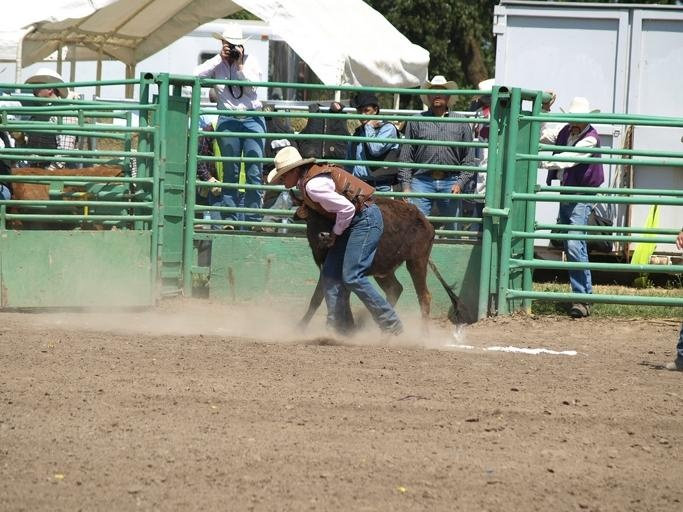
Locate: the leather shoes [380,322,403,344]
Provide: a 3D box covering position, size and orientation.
[{"bbox_3d":[0.479,0.689,8.138,0.208,0.196,0.151,-16,0,32],"label":"leather shoes"}]

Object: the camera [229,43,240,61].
[{"bbox_3d":[-1.201,-2.279,9.912,0.094,0.148,0.148,0,39,-13],"label":"camera"}]

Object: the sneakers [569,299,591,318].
[{"bbox_3d":[2.516,0.569,9.350,0.097,0.116,0.279,-4,-12,26],"label":"sneakers"}]

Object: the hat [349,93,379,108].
[{"bbox_3d":[0.319,-1.741,9.931,0.275,0.157,0.211,0,4,-25],"label":"hat"}]

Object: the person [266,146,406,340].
[{"bbox_3d":[-0.007,-0.129,7.977,1.165,1.668,0.441,0,12,-8],"label":"person"}]

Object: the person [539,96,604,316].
[{"bbox_3d":[2.481,-0.566,9.573,0.655,2.225,1.474,4,12,10],"label":"person"}]

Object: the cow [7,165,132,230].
[{"bbox_3d":[-2.993,-0.615,9.603,1.161,0.664,0.811,-3,12,-21],"label":"cow"}]

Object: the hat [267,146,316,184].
[{"bbox_3d":[-0.427,-0.800,7.822,0.399,0.317,0.355,1,11,-3],"label":"hat"}]

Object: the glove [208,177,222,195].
[{"bbox_3d":[-1.440,-0.795,10.145,0.126,0.220,0.059,-2,-7,4],"label":"glove"}]
